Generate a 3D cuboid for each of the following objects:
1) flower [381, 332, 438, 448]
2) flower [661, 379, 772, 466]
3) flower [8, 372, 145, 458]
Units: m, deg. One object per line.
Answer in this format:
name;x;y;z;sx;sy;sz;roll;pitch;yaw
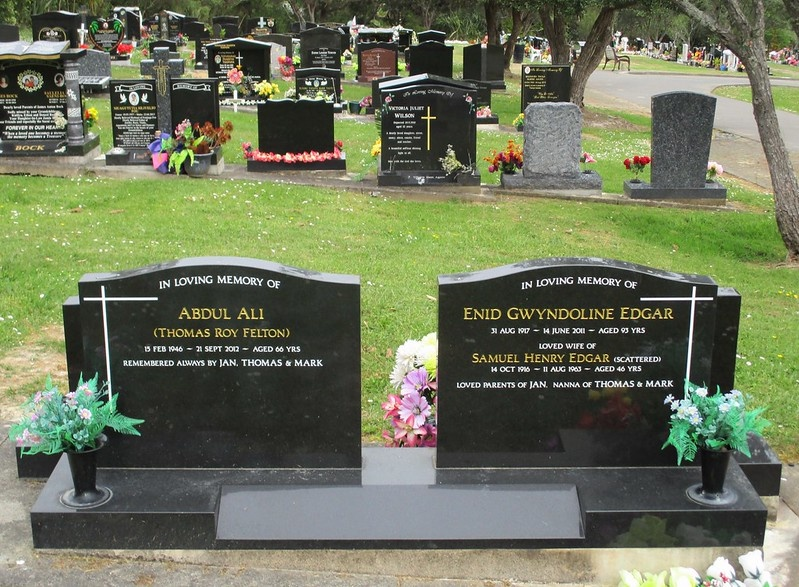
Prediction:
flower;0.081;0.881;7.703;0.451;0.983;0.619;0;19;-1
flower;2.322;0.967;7.049;0.668;0.404;0.692;2;-4;2
flower;-2.412;0.921;6.814;0.725;0.401;0.758;14;35;17
